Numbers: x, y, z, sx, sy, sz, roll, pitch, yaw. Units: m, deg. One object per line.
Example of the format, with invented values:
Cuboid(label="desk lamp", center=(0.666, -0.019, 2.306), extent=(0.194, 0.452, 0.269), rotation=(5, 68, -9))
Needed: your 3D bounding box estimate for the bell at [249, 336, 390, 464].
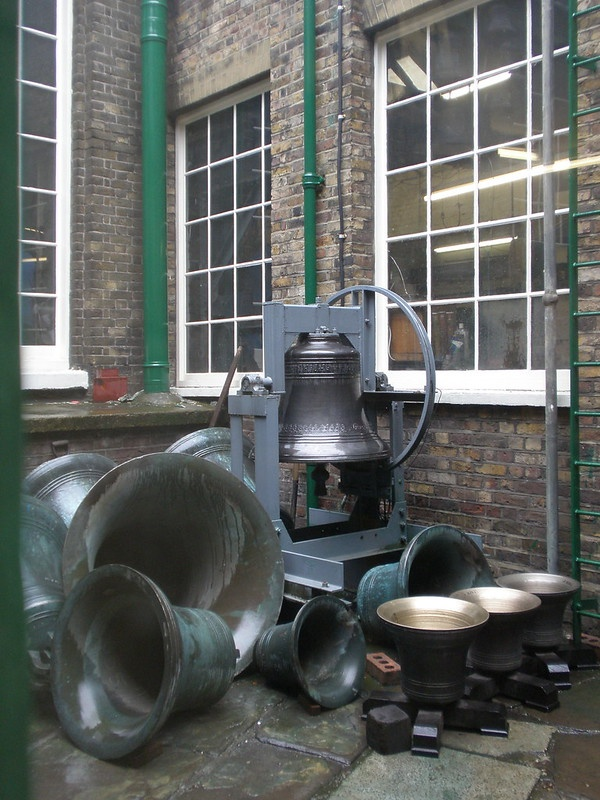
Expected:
Cuboid(label="bell", center=(0.098, 0.019, 3.767), extent=(0.722, 0.757, 0.777), rotation=(3, -11, -28))

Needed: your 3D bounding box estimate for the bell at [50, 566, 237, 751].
Cuboid(label="bell", center=(-0.533, 0.896, 2.530), extent=(0.608, 0.562, 0.571), rotation=(-1, 1, 37))

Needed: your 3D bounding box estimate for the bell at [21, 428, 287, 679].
Cuboid(label="bell", center=(-0.591, 0.676, 2.894), extent=(0.822, 0.848, 0.791), rotation=(-30, -5, 38))

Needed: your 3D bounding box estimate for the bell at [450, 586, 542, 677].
Cuboid(label="bell", center=(0.778, 0.902, 2.789), extent=(0.327, 0.258, 0.324), rotation=(1, -2, -43))

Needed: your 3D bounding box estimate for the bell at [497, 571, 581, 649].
Cuboid(label="bell", center=(1.041, 0.891, 2.994), extent=(0.308, 0.247, 0.310), rotation=(1, 5, 29))

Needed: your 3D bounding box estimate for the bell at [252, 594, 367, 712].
Cuboid(label="bell", center=(0.083, 1.064, 2.871), extent=(0.470, 0.443, 0.436), rotation=(-9, -7, 24))

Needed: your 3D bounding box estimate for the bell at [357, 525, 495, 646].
Cuboid(label="bell", center=(0.553, 0.931, 3.320), extent=(0.523, 0.530, 0.609), rotation=(15, -28, -18))

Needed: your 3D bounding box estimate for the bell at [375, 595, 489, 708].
Cuboid(label="bell", center=(0.489, 0.939, 2.528), extent=(0.381, 0.306, 0.389), rotation=(-2, -3, 22))
